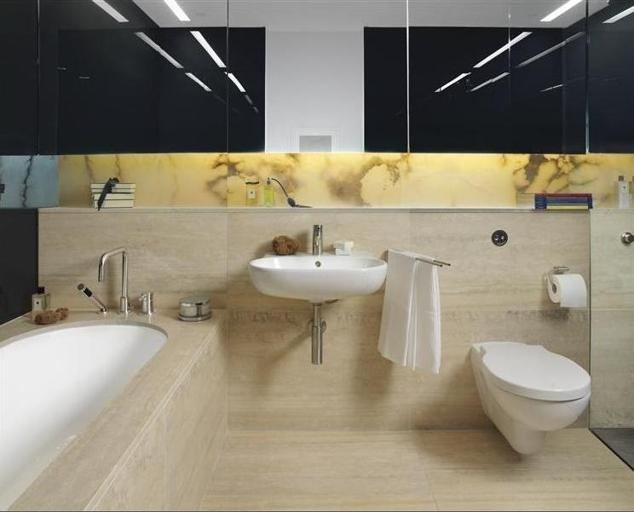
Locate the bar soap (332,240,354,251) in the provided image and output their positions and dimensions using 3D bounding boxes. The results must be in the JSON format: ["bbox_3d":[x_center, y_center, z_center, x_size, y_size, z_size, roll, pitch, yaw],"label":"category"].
[{"bbox_3d":[0.134,-0.063,3.212,0.076,0.052,0.062,1,4,2],"label":"bar soap"}]

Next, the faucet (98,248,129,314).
[{"bbox_3d":[-1.090,0.139,3.128,0.147,0.360,0.387,-3,7,-18],"label":"faucet"}]

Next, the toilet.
[{"bbox_3d":[1.085,0.743,3.142,0.423,0.476,0.670,-4,8,-8],"label":"toilet"}]

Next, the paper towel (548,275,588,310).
[{"bbox_3d":[1.377,0.195,3.241,0.162,0.187,0.166,-1,7,-3],"label":"paper towel"}]

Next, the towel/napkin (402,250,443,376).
[{"bbox_3d":[0.545,0.295,3.015,0.164,0.580,0.102,1,7,15],"label":"towel/napkin"}]

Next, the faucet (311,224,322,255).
[{"bbox_3d":[-0.004,-0.096,3.246,0.061,0.165,0.134,-1,7,0],"label":"faucet"}]

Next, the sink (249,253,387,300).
[{"bbox_3d":[-0.002,0.125,3.049,0.696,0.227,0.353,-1,7,1],"label":"sink"}]
